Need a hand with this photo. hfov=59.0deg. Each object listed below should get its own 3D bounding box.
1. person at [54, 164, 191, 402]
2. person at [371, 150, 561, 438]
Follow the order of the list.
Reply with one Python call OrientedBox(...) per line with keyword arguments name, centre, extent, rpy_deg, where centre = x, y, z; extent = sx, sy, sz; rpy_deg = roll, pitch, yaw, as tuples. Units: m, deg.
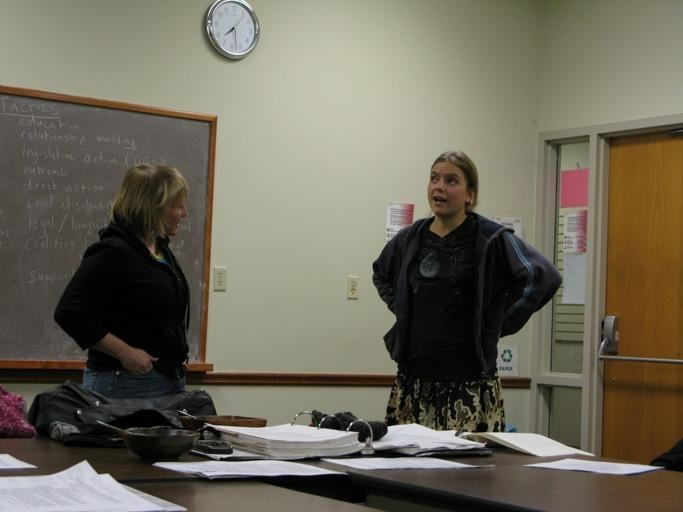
OrientedBox(name="person", centre=(-0.781, 0.075, 2.236), extent=(0.499, 0.870, 0.299), rpy_deg=(4, -4, -29))
OrientedBox(name="person", centre=(0.545, 0.275, 2.647), extent=(0.760, 0.941, 0.357), rpy_deg=(2, -4, 5))
